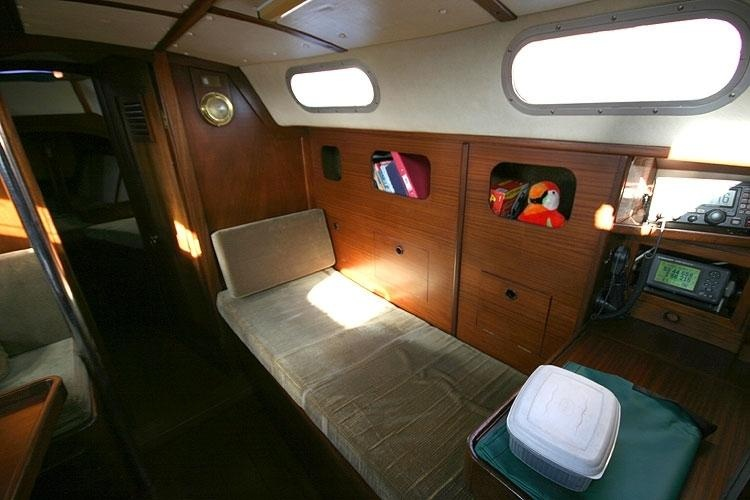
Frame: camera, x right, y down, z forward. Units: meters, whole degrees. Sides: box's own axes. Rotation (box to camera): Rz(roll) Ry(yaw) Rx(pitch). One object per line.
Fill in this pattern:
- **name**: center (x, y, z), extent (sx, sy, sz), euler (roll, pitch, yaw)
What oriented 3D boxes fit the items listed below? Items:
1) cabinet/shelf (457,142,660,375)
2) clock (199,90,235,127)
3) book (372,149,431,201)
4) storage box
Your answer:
- **cabinet/shelf**: center (1.181, 0.069, 3.698), extent (1.058, 1.731, 0.564), euler (12, 24, 23)
- **clock**: center (-1.414, -1.271, 4.170), extent (0.282, 0.267, 0.069), euler (-10, 16, -34)
- **book**: center (0.229, -0.662, 4.038), extent (0.664, 0.384, 0.166), euler (18, 26, 41)
- **storage box**: center (0.994, 0.907, 2.457), extent (0.504, 0.274, 0.597), euler (25, 57, 33)
